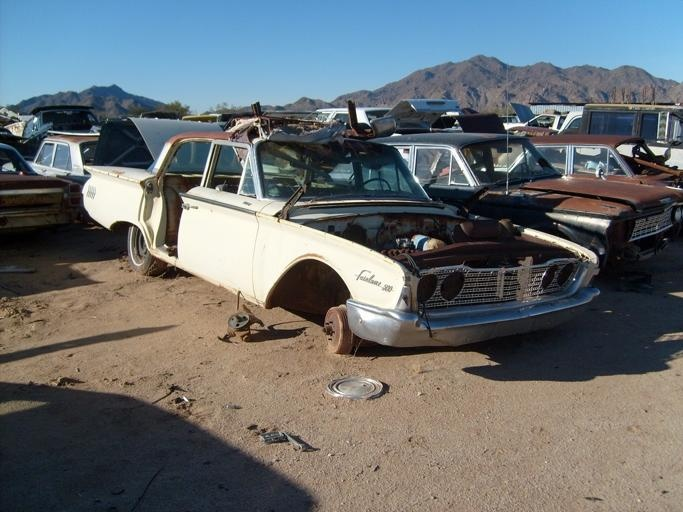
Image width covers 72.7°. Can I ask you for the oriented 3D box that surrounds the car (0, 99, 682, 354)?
[{"bbox_3d":[-0.886,-0.646,5.396,6.312,1.526,2.778,15,23,35],"label":"car"}]
